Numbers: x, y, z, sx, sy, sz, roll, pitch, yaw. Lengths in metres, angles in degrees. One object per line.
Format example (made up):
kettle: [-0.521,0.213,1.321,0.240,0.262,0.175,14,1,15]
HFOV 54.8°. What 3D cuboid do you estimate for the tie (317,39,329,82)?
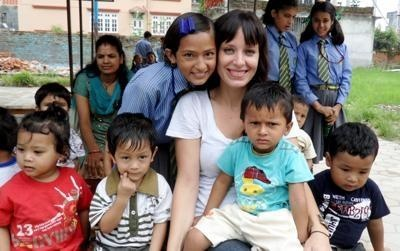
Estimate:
tie: [1.807,-0.945,5.619,0.179,0.635,0.139,3,9,16]

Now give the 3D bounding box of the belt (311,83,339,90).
belt: [1.840,-0.572,5.686,0.382,0.091,0.119,3,8,12]
